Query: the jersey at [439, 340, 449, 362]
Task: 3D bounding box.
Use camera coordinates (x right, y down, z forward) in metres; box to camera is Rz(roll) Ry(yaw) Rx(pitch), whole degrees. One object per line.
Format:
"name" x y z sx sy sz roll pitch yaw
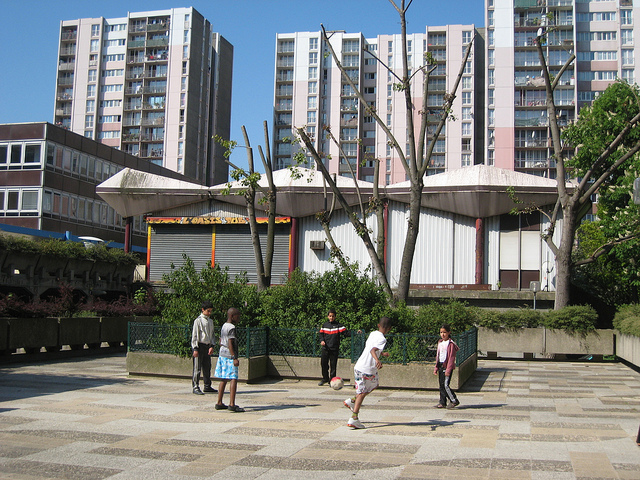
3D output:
"jersey" 3.560 3.201 22.325 0.139 0.564 0.302 10 -7 -31

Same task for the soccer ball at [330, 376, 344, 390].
"soccer ball" 0.486 3.906 21.324 0.365 0.394 0.373 -1 -32 -1

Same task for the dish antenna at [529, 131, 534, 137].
"dish antenna" 24.982 -12.429 91.248 0.088 0.719 0.671 2 0 -14

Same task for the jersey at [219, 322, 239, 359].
"jersey" -2.525 2.801 21.516 0.475 0.969 0.772 1 6 -8

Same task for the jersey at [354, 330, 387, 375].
"jersey" 1.291 2.890 19.794 0.744 1.078 0.340 2 6 3
